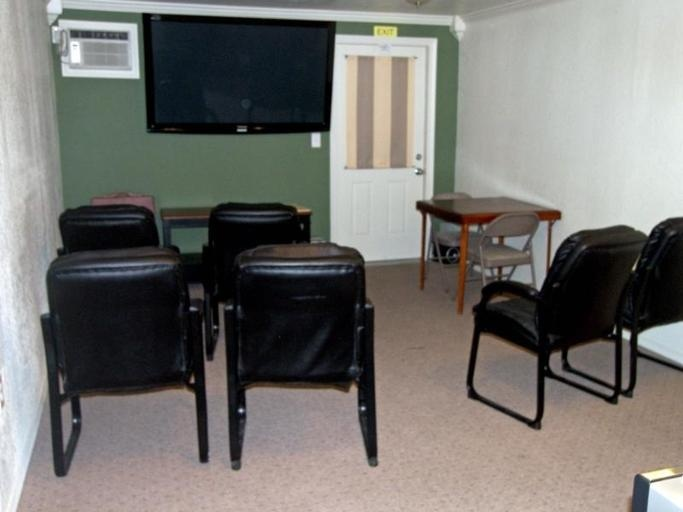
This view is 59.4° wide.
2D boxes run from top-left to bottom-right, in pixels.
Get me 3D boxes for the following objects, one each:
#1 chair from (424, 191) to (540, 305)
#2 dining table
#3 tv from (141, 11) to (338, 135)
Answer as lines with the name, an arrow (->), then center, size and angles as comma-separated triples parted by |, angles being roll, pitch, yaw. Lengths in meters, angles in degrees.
chair -> 1.359, -0.056, 5.765 | 1.033, 1.050, 1.000 | -6, 15, -24
dining table -> 1.428, -0.217, 5.728 | 1.123, 1.142, 1.138 | -7, 18, -21
tv -> -1.030, -1.825, 6.039 | 1.912, 1.135, 0.124 | -6, 15, -15
